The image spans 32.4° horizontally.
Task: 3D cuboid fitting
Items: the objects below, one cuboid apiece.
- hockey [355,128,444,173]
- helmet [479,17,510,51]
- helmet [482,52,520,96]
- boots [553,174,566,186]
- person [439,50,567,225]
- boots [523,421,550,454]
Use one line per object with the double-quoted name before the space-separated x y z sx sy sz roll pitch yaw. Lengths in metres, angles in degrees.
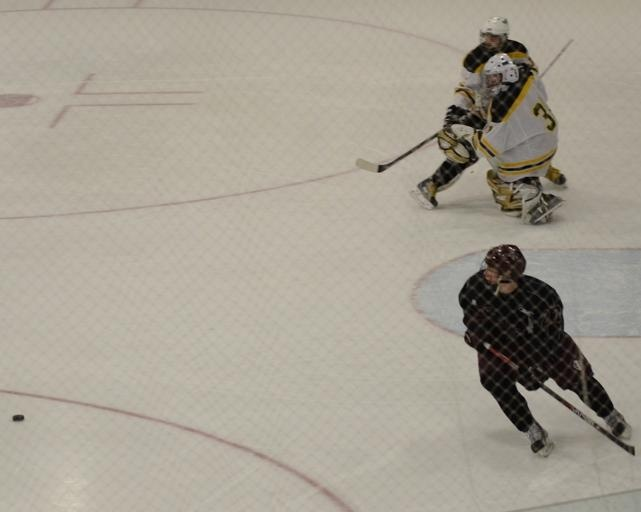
"hockey" 0.568 -0.724 7.754 0.662 0.096 0.119 -38 14 51
"helmet" 1.095 -1.397 6.998 0.215 0.182 0.164 -19 28 -29
"helmet" 1.083 -1.091 6.747 0.258 0.238 0.203 -15 16 -25
"boots" 1.591 -0.498 7.323 0.064 0.030 0.087 -20 7 5
"person" 1.087 -0.745 7.092 0.798 0.993 0.896 -14 27 -27
"boots" 1.100 0.909 5.603 0.120 0.131 0.105 -28 13 0
